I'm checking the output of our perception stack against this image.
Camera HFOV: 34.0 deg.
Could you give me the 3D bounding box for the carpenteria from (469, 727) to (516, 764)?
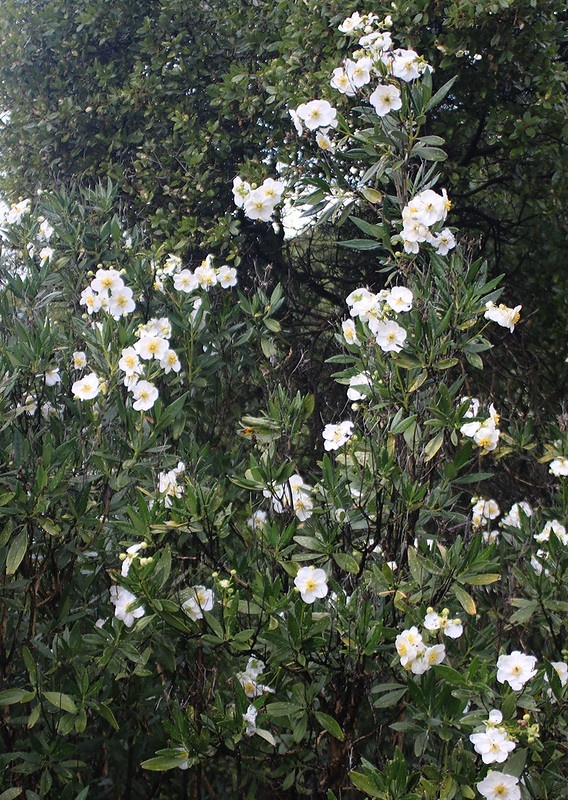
[{"bbox_3d":[0.490,0.801,2.175,0.082,0.070,0.075,-24,34,-16],"label":"carpenteria"}]
